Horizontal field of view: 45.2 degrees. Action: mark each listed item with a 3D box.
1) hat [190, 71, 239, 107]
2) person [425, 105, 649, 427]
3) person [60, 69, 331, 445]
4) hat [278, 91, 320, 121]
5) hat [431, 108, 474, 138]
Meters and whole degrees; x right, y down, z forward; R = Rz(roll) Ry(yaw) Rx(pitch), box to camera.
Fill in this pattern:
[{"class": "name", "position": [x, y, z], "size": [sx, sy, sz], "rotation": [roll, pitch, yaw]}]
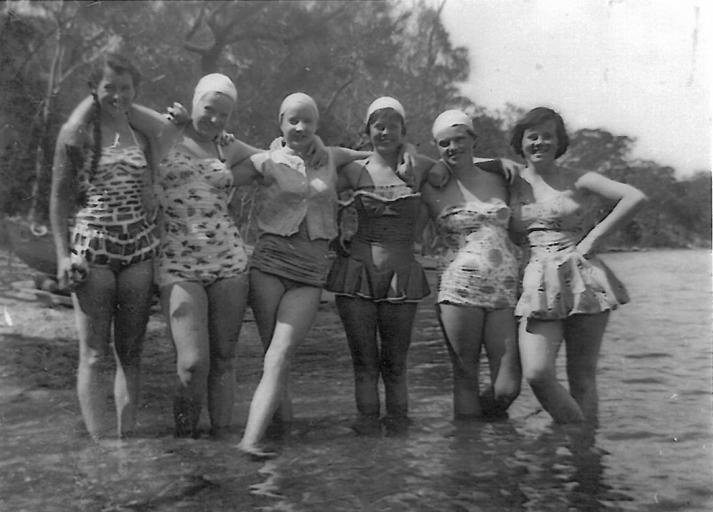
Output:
[{"class": "hat", "position": [-0.880, -1.055, 5.445], "size": [0.220, 0.184, 0.265], "rotation": [7, 3, -11]}, {"class": "person", "position": [1.368, 0.061, 5.490], "size": [0.714, 2.025, 0.265], "rotation": [1, -1, 0]}, {"class": "person", "position": [-1.302, -0.026, 5.398], "size": [1.194, 2.381, 0.430], "rotation": [1, -1, -6]}, {"class": "hat", "position": [-0.379, -0.984, 5.569], "size": [0.191, 0.175, 0.233], "rotation": [1, 17, 4]}, {"class": "hat", "position": [0.624, -0.902, 5.693], "size": [0.256, 0.132, 0.229], "rotation": [-3, -15, -4]}]
